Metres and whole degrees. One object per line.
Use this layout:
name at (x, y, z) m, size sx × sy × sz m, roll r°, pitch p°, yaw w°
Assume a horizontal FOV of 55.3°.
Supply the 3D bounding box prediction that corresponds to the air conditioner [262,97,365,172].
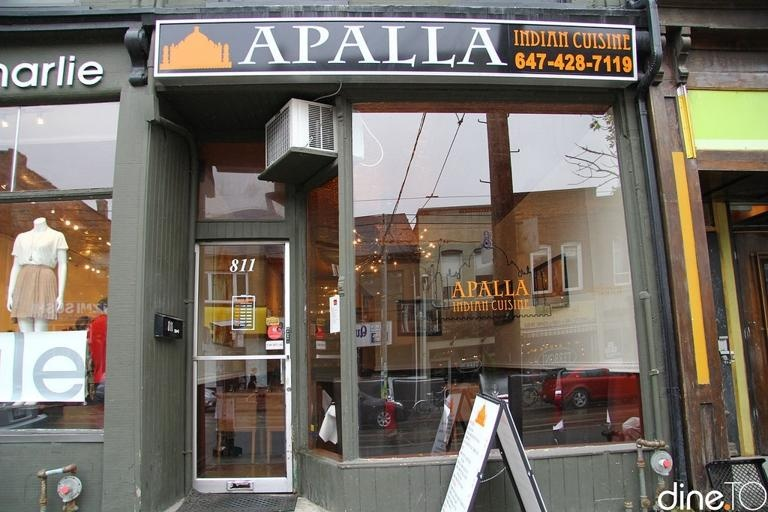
air conditioner at (-0.931, -1.460, 8.963) m, size 0.894 × 0.565 × 0.895 m, roll -1°, pitch -8°, yaw -36°

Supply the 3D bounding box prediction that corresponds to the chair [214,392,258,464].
chair at (-1.785, 2.092, 9.202) m, size 0.488 × 0.796 × 0.484 m, roll -1°, pitch 0°, yaw -5°

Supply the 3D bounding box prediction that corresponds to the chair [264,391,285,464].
chair at (-1.370, 2.089, 9.061) m, size 0.344 × 0.683 × 0.234 m, roll -3°, pitch -8°, yaw -4°

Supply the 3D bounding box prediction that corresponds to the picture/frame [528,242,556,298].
picture/frame at (1.942, 0.171, 9.153) m, size 0.260 × 0.629 × 0.039 m, roll -4°, pitch 8°, yaw -2°
